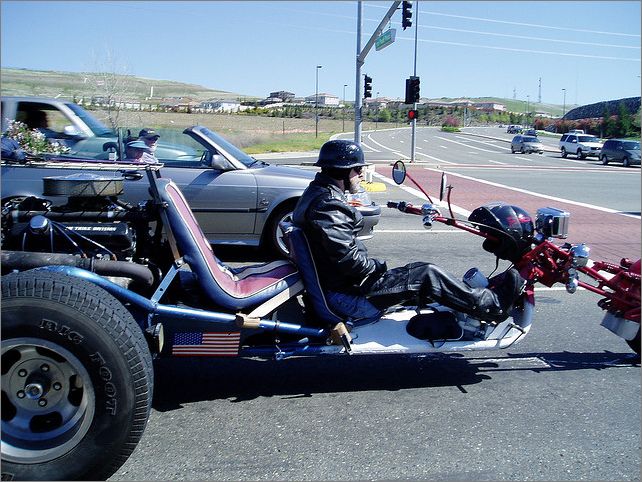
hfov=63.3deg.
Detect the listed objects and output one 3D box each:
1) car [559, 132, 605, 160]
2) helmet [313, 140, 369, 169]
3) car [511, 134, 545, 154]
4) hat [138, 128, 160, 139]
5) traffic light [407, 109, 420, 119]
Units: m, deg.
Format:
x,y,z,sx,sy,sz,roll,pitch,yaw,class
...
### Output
x,y,z,sx,sy,sz,roll,pitch,yaw,class
19.320,-7.064,38.711,2.042,2.016,3.916,1,10,4,car
0.167,-0.690,4.184,0.377,0.117,0.268,-4,4,-32,helmet
17.788,-8.256,44.860,1.959,1.046,3.032,0,5,-2,car
-2.418,-1.519,7.319,0.253,0.086,0.171,0,2,33,hat
5.092,-6.980,28.628,0.695,0.594,0.283,3,-13,0,traffic light
